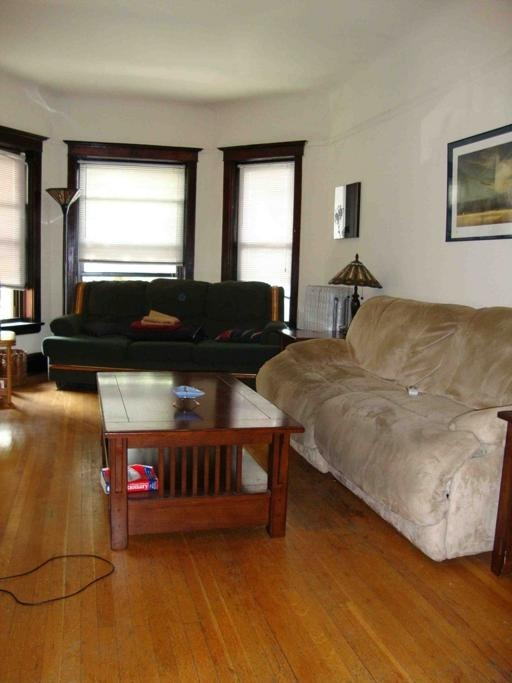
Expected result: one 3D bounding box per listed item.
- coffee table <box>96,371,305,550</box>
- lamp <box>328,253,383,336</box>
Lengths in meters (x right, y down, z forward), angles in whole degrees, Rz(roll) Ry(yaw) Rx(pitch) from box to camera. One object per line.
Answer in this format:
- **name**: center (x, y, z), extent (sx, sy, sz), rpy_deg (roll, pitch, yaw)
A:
- **coffee table**: center (-0.248, 0.446, 2.304), extent (0.492, 0.293, 0.824), rpy_deg (-1, 7, -12)
- **lamp**: center (0.698, -0.390, 4.023), extent (0.498, 0.646, 0.481), rpy_deg (1, 5, -2)
